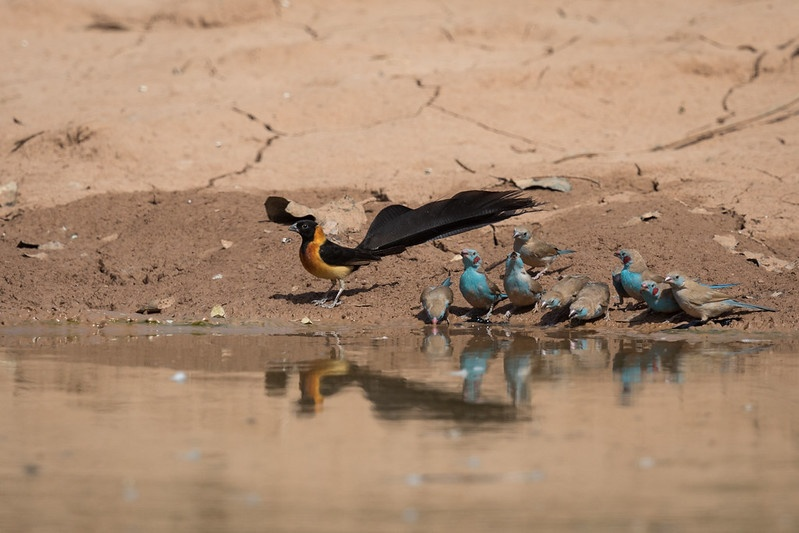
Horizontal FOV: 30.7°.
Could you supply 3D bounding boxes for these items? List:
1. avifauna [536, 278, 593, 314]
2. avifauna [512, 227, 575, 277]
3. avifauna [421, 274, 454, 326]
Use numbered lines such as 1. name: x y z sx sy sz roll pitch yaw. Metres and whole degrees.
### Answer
1. avifauna: 2.694 0.410 23.882 0.963 0.371 0.388 -33 87 -6
2. avifauna: 2.390 -0.309 25.264 0.752 1.682 0.744 7 101 43
3. avifauna: 0.576 0.554 24.018 0.386 0.379 0.758 3 65 15
